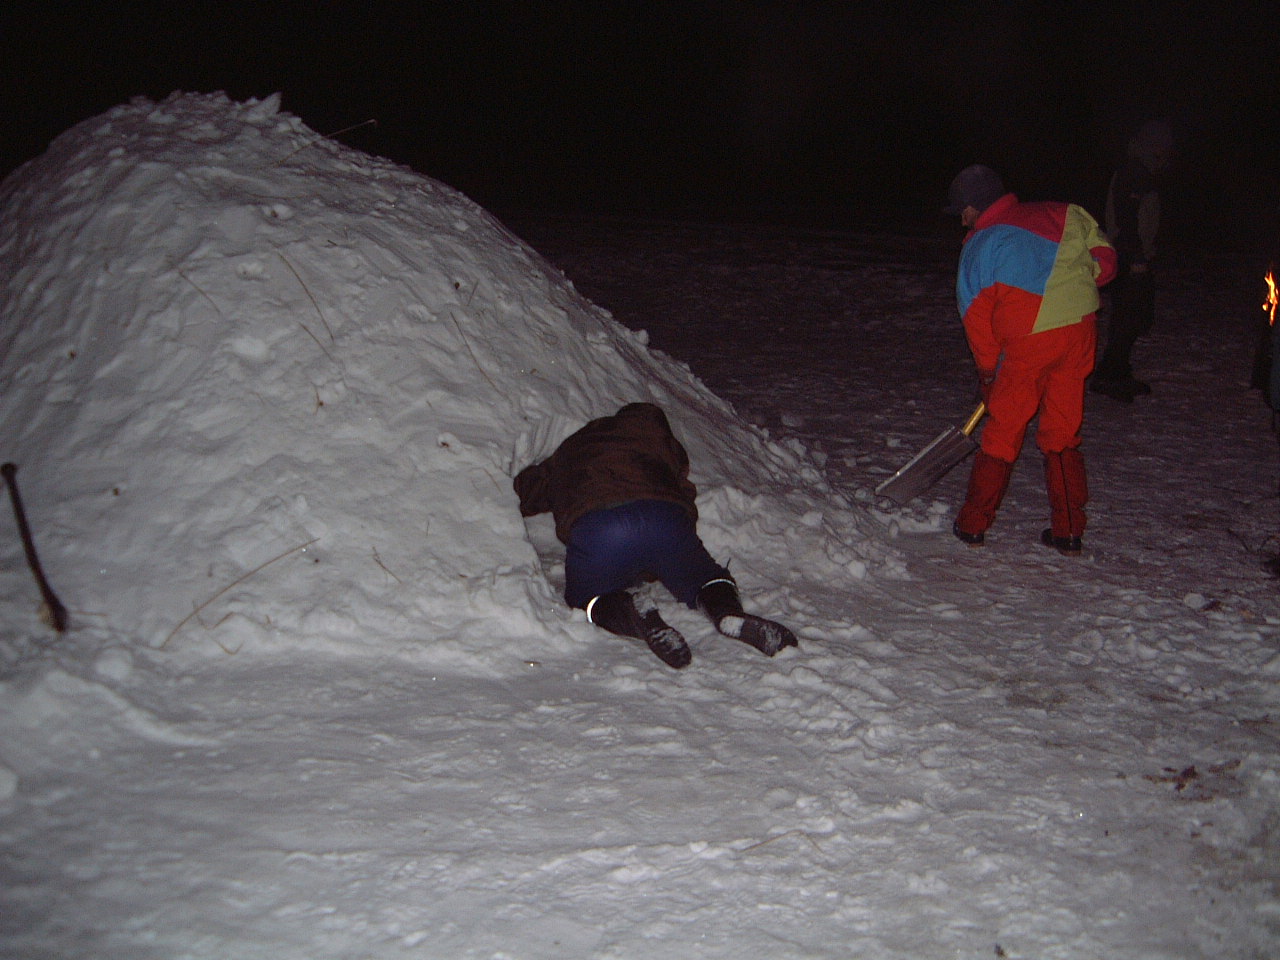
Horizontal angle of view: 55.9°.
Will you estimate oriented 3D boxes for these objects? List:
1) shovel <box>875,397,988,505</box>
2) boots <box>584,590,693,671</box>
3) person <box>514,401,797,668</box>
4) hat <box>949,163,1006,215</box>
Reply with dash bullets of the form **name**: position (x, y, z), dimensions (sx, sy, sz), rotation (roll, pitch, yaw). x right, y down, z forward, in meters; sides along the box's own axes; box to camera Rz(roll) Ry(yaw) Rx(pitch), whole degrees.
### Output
- **shovel**: position (2.246, -0.198, 9.334), dimensions (0.194, 0.700, 0.732), rotation (45, 62, 8)
- **boots**: position (-0.024, 0.779, 6.539), dimensions (0.733, 0.315, 0.235), rotation (32, 80, 20)
- **person**: position (-0.118, 0.292, 6.879), dimensions (1.338, 0.680, 2.121), rotation (-3, 36, -16)
- **hat**: position (2.217, -1.967, 8.208), dimensions (0.327, 0.225, 0.385), rotation (-19, 25, -6)
